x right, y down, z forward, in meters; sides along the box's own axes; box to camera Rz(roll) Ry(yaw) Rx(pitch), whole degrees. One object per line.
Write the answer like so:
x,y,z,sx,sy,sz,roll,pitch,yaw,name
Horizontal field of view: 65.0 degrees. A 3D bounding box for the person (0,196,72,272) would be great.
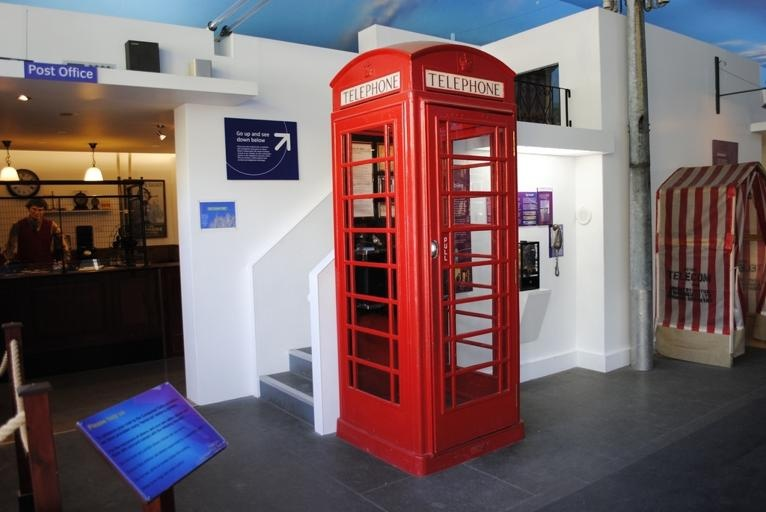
-5.854,-0.353,10.022,1.223,1.728,0.654,-3,1,-39,person
